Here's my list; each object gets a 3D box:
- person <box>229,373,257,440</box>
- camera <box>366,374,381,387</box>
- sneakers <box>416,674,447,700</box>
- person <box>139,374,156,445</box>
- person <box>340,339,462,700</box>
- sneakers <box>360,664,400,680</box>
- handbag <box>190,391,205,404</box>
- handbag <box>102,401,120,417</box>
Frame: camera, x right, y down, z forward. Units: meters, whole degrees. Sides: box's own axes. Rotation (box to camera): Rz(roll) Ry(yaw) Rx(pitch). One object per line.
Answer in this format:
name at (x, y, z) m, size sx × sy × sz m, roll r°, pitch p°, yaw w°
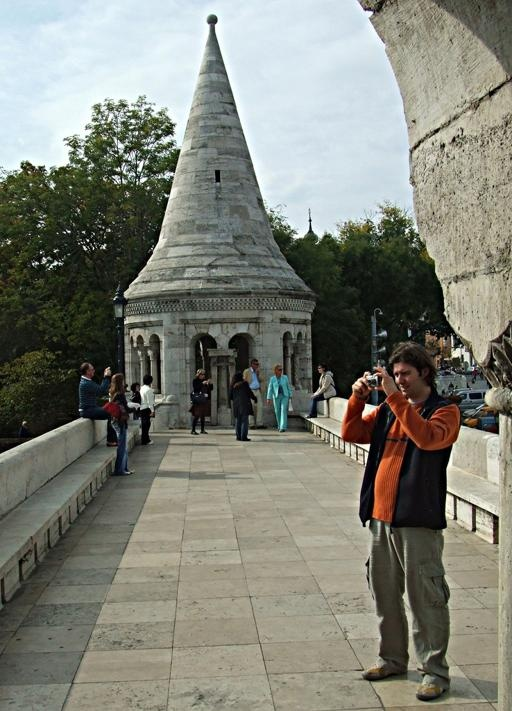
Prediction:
person at (-0.244, 1.047, 15.557) m, size 0.448 × 1.091 × 1.021 m, roll -2°, pitch -1°, yaw 0°
camera at (0.547, 0.116, 3.483) m, size 0.052 × 0.082 × 0.089 m, roll -2°, pitch 2°, yaw -31°
sneakers at (0.758, 1.450, 3.280) m, size 0.067 × 0.068 × 0.170 m, roll -10°, pitch -19°, yaw 23°
person at (-2.166, 1.088, 15.070) m, size 0.267 × 0.990 × 0.821 m, roll -2°, pitch -1°, yaw -9°
person at (0.686, 0.725, 3.541) m, size 0.404 × 1.441 × 0.606 m, roll -2°, pitch -1°, yaw -20°
sneakers at (0.582, 1.479, 3.505) m, size 0.148 × 0.059 × 0.074 m, roll 2°, pitch -3°, yaw -6°
handbag at (-1.196, 0.886, 15.987) m, size 0.300 × 0.173 × 0.359 m, roll -2°, pitch -1°, yaw -6°
handbag at (-2.031, 0.748, 10.689) m, size 0.073 × 0.235 × 0.188 m, roll 3°, pitch -20°, yaw -42°
